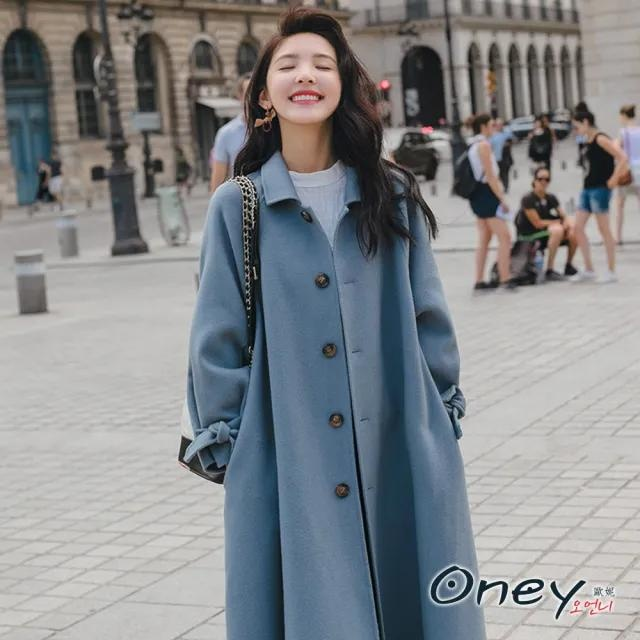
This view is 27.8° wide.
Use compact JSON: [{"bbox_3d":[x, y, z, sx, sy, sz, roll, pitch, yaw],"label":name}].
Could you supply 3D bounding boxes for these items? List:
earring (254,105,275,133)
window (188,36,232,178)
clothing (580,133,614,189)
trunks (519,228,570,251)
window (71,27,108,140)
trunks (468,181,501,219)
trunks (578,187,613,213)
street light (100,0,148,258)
[{"bbox_3d":[-0.155,-0.602,3.833,0.064,0.063,0.021,-21,28,12],"label":"earring"},{"bbox_3d":[-0.732,-1.410,8.857,0.352,0.965,0.248,19,28,29],"label":"window"},{"bbox_3d":[2.071,-1.198,9.611,0.268,0.438,0.335,0,-2,-14],"label":"clothing"},{"bbox_3d":[1.853,-0.691,10.715,0.402,0.167,0.134,0,7,28],"label":"trunks"},{"bbox_3d":[-1.209,-1.237,6.776,0.132,0.547,0.047,-5,0,-25],"label":"window"},{"bbox_3d":[1.346,-1.000,10.557,0.137,0.261,0.190,-26,-10,-46],"label":"trunks"},{"bbox_3d":[2.013,-0.896,9.635,0.163,0.247,0.266,4,-2,-21],"label":"trunks"},{"bbox_3d":[-1.051,-0.955,7.010,0.160,1.258,0.377,-3,12,12],"label":"street light"}]
